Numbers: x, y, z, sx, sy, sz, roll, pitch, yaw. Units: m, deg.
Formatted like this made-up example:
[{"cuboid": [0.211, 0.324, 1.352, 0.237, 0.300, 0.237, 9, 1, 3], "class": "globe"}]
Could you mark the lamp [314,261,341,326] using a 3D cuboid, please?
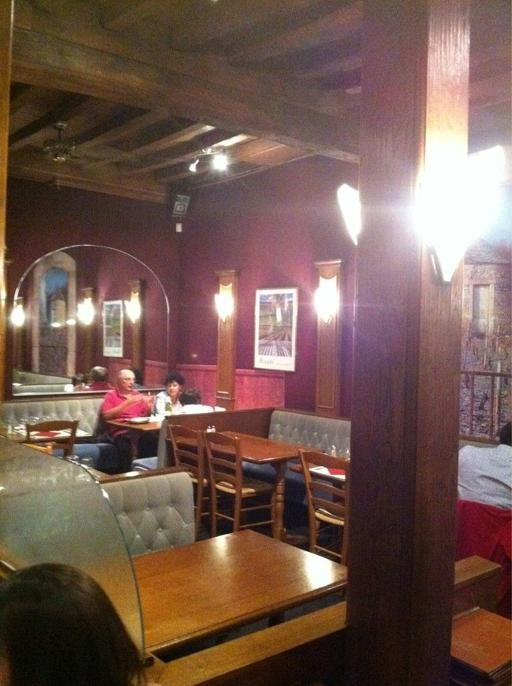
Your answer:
[{"cuboid": [0.807, -0.569, 6.069, 0.084, 0.703, 0.364, 7, -3, -39], "class": "lamp"}]

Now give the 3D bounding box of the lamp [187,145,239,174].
[{"cuboid": [-0.527, -2.352, 6.913, 0.415, 0.165, 0.416, -27, 29, -33], "class": "lamp"}]

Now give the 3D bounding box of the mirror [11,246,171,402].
[{"cuboid": [-2.489, -0.332, 7.951, 2.079, 1.611, 0.052, 1, 1, -45], "class": "mirror"}]

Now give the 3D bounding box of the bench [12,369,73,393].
[{"cuboid": [-3.115, 0.594, 7.798, 0.240, 0.316, 1.014, 3, -4, 31], "class": "bench"}]

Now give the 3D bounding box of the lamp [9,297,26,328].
[{"cuboid": [-3.323, -0.405, 7.443, 0.161, 0.422, 0.337, 5, -3, -10], "class": "lamp"}]

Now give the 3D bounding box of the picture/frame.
[{"cuboid": [0.273, -0.164, 6.807, 0.059, 1.494, 0.975, 6, -6, -43], "class": "picture/frame"}]
